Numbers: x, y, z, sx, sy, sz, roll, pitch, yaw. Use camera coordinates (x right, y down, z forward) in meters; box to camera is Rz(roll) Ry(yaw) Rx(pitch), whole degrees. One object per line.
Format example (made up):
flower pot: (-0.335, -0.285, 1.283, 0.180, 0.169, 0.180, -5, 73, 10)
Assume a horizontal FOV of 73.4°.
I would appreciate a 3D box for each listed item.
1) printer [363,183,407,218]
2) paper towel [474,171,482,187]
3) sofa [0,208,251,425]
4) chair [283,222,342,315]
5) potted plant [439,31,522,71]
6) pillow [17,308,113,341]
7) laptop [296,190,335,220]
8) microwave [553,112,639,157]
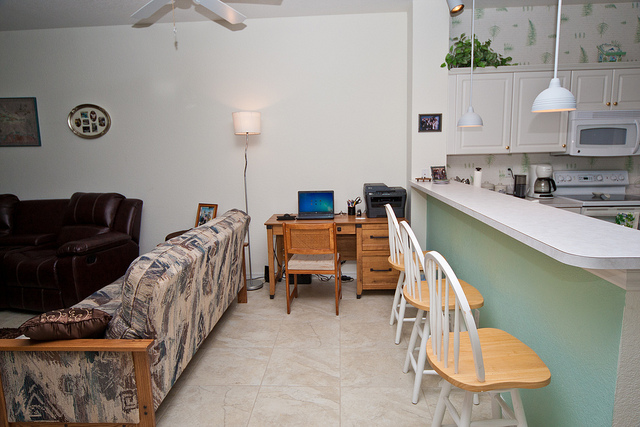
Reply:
printer: (0.820, -0.140, 5.271, 0.500, 0.373, 0.395, -1, 2, 5)
paper towel: (1.781, -0.391, 4.829, 0.062, 0.160, 0.186, 0, 8, 16)
sofa: (-1.444, 0.886, 3.542, 0.944, 1.469, 1.917, 4, 10, 39)
chair: (-0.087, 0.576, 4.826, 0.627, 1.022, 0.710, -2, 8, 0)
potted plant: (1.938, -1.969, 5.200, 0.570, 0.276, 0.728, -31, 55, -31)
pillow: (-1.853, 0.807, 3.125, 0.314, 0.112, 0.354, 0, 0, -22)
laptop: (-0.037, -0.118, 5.265, 0.476, 0.328, 0.370, -1, 6, -2)
microwave: (3.437, -0.791, 5.278, 0.755, 0.538, 0.515, 0, 6, 10)
